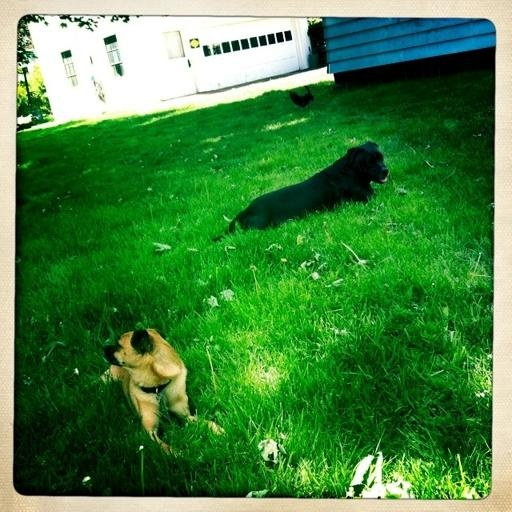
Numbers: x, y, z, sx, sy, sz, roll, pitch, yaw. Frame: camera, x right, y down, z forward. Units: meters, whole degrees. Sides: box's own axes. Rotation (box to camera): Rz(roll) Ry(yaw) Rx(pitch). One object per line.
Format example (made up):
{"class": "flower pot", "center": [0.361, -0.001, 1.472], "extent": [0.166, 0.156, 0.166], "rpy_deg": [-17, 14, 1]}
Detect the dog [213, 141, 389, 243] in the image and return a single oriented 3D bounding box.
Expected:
{"class": "dog", "center": [0.270, -0.361, 2.829], "extent": [0.676, 0.310, 0.188], "rpy_deg": [-24, 44, 12]}
